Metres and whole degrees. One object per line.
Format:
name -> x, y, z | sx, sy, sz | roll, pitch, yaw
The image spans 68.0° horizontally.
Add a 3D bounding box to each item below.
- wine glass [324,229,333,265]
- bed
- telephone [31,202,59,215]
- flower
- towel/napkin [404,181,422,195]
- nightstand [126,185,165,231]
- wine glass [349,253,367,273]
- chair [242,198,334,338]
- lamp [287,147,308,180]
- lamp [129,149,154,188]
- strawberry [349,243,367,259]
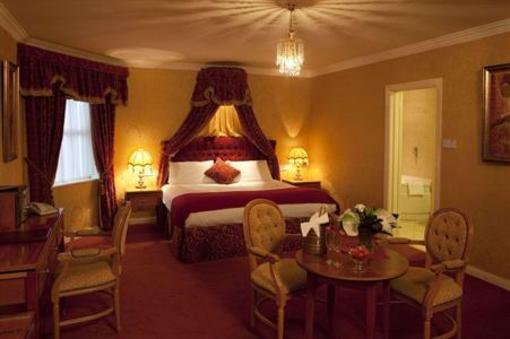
wine glass -> 0.739, 0.762, 3.818 | 0.068, 0.340, 0.174 | -2, 15, -8
bed -> -0.610, 0.452, 6.826 | 2.126, 1.640, 2.523 | -2, 3, -21
telephone -> -2.589, 0.473, 4.618 | 0.242, 0.081, 0.181 | 6, 5, 38
flower -> 1.129, 0.594, 3.960 | 0.570, 0.403, 0.581 | 2, 5, -24
towel/napkin -> 3.078, 0.383, 7.358 | 0.232, 0.191, 0.351 | -1, 2, 8
nightstand -> -1.987, 0.700, 7.115 | 0.820, 0.812, 0.711 | -1, 2, -22
wine glass -> 1.012, 0.912, 3.725 | 0.167, 0.187, 0.174 | -3, -5, 36
chair -> 0.203, 1.083, 4.262 | 0.658, 1.297, 1.109 | -1, 15, -2
lamp -> 0.907, -0.120, 8.259 | 0.448, 0.709, 0.431 | -3, 1, -40
lamp -> -2.170, 0.008, 7.194 | 0.621, 0.711, 0.613 | -2, 6, -28
strawberry -> 0.979, 0.798, 3.635 | 0.136, 0.099, 0.148 | 0, 1, 24
